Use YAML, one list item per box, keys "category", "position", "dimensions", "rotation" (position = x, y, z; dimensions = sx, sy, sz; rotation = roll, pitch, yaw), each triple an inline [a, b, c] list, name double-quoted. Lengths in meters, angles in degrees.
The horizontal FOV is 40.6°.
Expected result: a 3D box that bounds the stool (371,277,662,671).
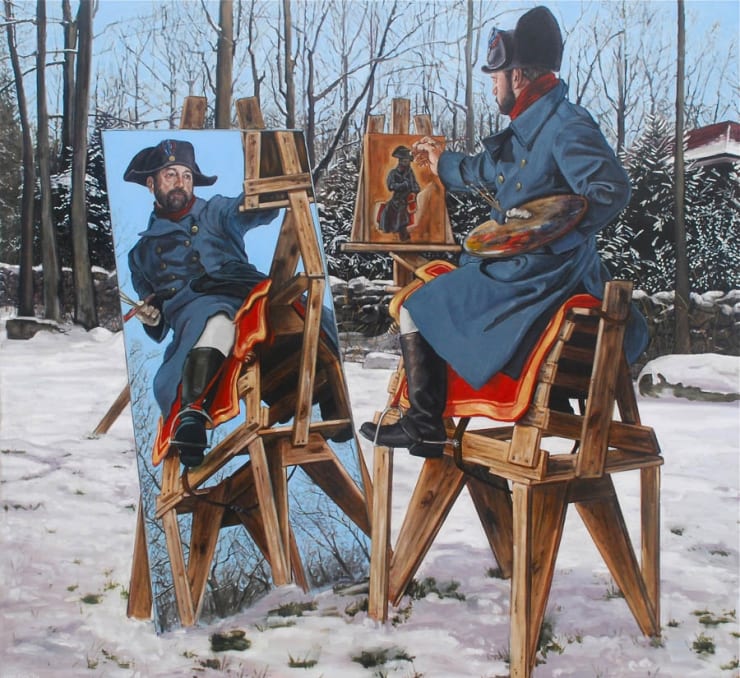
- category: "stool"
  position: [0.763, 0.610, 5.085]
  dimensions: [1.347, 1.887, 1.026]
  rotation: [11, 19, 38]
